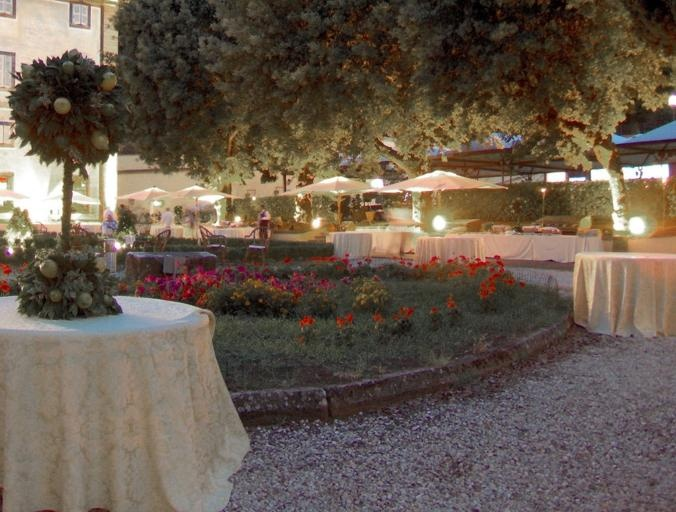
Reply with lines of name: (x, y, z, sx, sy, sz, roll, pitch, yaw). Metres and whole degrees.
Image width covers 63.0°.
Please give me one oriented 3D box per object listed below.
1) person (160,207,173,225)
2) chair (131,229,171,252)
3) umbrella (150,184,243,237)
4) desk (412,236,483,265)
person: (-7.187, -1.676, 23.249, 0.345, 0.739, 1.809, 0, 5, -20)
chair: (-5.923, -0.494, 17.465, 0.843, 0.481, 0.897, 3, 10, 19)
umbrella: (-5.316, -1.984, 20.620, 1.909, 1.481, 2.072, -3, 26, 16)
desk: (2.624, -0.130, 13.278, 1.530, 0.695, 0.643, 3, 5, 11)
